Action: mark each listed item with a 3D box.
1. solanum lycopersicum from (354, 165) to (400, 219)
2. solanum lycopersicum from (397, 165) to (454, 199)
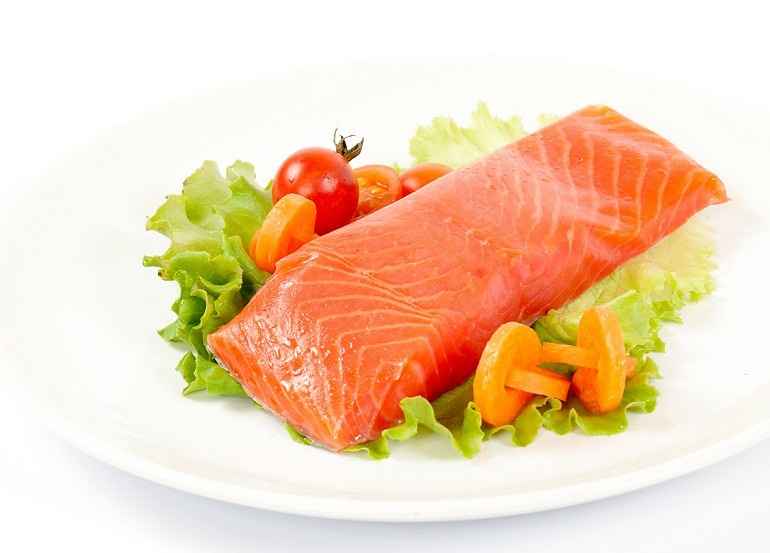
[{"bbox_3d":[-0.038,-0.475,4.177,0.279,0.302,0.111,3,-35,28],"label":"solanum lycopersicum"},{"bbox_3d":[0.216,-0.589,4.362,0.239,0.138,0.250,-25,4,-16],"label":"solanum lycopersicum"}]
